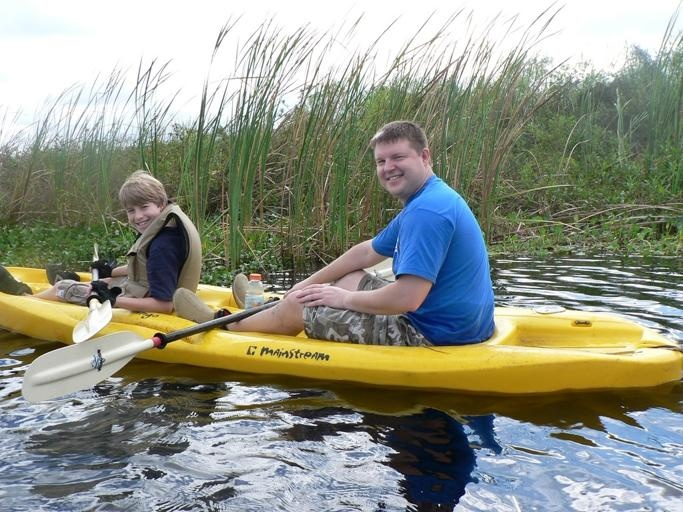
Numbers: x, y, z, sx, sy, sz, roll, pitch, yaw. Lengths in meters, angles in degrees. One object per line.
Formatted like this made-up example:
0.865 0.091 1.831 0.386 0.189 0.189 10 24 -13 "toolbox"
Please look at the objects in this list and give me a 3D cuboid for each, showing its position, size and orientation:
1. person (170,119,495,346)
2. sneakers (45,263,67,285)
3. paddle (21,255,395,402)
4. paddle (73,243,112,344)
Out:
0.144 -0.144 3.862 1.586 1.400 0.686 7 15 28 "person"
-2.507 0.150 5.428 0.161 0.204 0.476 -2 7 -34 "sneakers"
-0.880 0.501 3.999 1.928 0.162 0.570 -10 38 -17 "paddle"
-1.949 0.293 4.775 0.247 0.084 1.138 -39 31 -5 "paddle"
